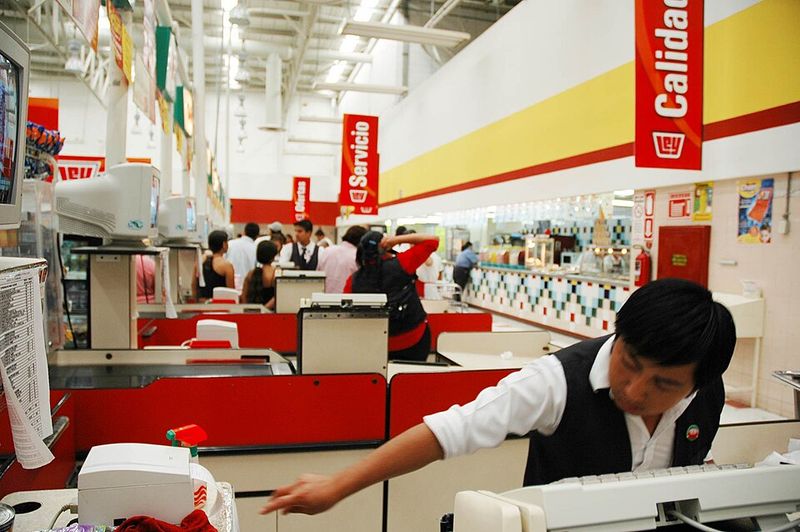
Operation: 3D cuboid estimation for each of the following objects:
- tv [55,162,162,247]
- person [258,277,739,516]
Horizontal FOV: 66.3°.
[{"bbox_3d":[-1.939,-0.416,4.121,0.550,0.446,0.553,-1,6,-31],"label":"tv"},{"bbox_3d":[0.561,0.469,2.380,1.503,0.877,0.334,2,4,1],"label":"person"}]
